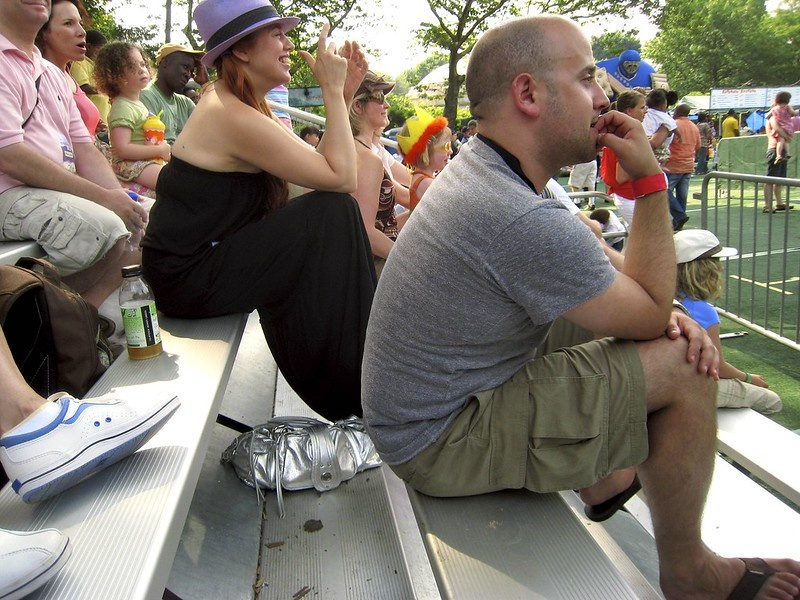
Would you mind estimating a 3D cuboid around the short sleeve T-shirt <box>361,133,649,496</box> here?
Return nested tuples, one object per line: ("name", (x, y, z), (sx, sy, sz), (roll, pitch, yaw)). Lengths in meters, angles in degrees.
("short sleeve T-shirt", (0.271, -0.016, 2.013), (1.069, 1.269, 1.019), (-5, 11, -7))

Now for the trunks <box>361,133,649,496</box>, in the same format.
("trunks", (0.306, -0.042, 2.011), (1.069, 1.269, 1.019), (-5, 11, -7))

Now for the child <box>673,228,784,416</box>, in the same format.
("child", (2.396, 0.163, 3.740), (0.922, 1.324, 0.755), (2, 4, -6))

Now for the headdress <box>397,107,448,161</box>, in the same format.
("headdress", (0.192, -1.714, 5.125), (0.554, 0.427, 0.468), (-36, 27, -20))

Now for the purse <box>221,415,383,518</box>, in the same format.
("purse", (-0.424, 0.669, 2.083), (0.595, 0.243, 0.390), (-10, 19, -34))

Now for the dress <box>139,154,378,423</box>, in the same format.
("dress", (-0.670, -0.063, 2.449), (1.118, 1.233, 0.375), (3, 16, 9))

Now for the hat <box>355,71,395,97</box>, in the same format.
("hat", (-0.226, -1.896, 4.211), (0.335, 0.173, 0.237), (-16, 25, -1))
